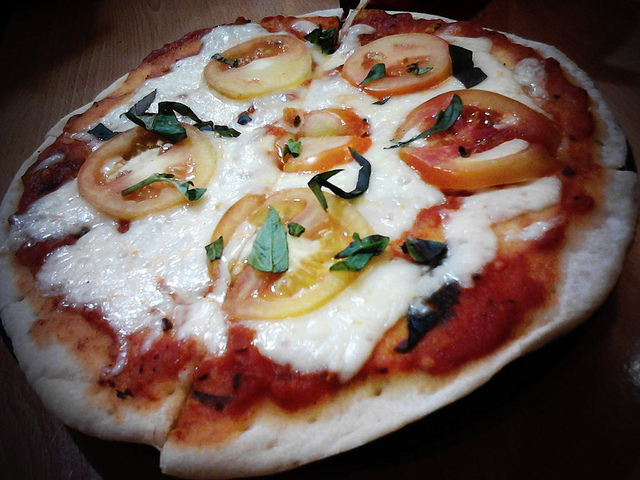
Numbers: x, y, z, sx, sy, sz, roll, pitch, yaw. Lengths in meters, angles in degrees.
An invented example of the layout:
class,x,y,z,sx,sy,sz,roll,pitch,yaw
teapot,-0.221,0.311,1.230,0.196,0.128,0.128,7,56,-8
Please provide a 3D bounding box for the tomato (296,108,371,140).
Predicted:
class,x,y,z,sx,sy,sz,roll,pitch,yaw
tomato,0.080,-0.676,3.845,0.428,0.102,0.213,1,73,0
